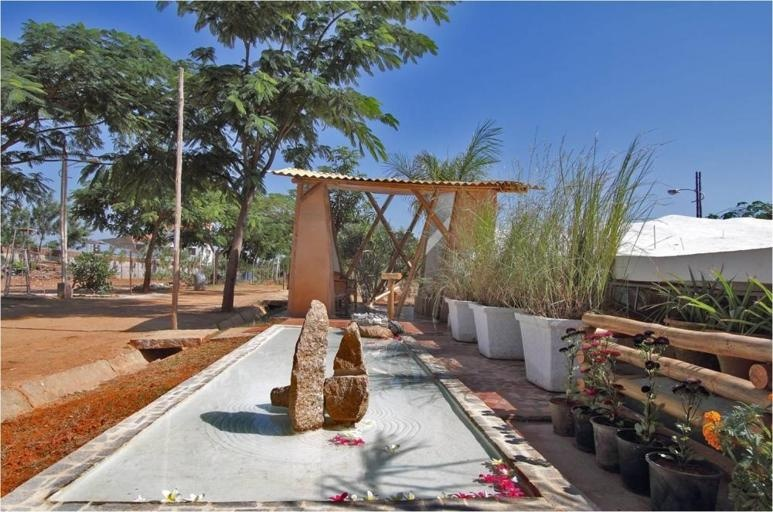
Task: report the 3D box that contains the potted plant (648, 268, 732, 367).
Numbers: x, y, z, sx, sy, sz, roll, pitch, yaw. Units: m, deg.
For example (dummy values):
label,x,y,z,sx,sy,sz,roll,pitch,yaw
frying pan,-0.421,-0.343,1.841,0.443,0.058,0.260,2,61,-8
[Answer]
label,x,y,z,sx,sy,sz,roll,pitch,yaw
potted plant,2.888,0.573,3.788,0.787,0.875,0.878,0,-5,0

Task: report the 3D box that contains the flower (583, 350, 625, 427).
label,x,y,z,sx,sy,sz,roll,pitch,yaw
flower,1.771,1.039,3.148,0.283,0.549,0.317,35,-46,-24

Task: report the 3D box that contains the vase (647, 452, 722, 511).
label,x,y,z,sx,sy,sz,roll,pitch,yaw
vase,1.949,1.433,2.616,0.375,0.284,0.406,0,-7,-8

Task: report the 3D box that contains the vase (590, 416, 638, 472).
label,x,y,z,sx,sy,sz,roll,pitch,yaw
vase,1.685,1.378,2.980,0.340,0.304,0.321,2,-1,-23

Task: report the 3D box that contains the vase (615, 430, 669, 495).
label,x,y,z,sx,sy,sz,roll,pitch,yaw
vase,1.892,1.443,2.834,0.367,0.335,0.413,0,-3,42

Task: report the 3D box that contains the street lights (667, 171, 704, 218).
label,x,y,z,sx,sy,sz,roll,pitch,yaw
street lights,4.241,-0.807,5.493,0.451,0.647,0.131,3,-10,14

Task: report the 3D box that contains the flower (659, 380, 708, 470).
label,x,y,z,sx,sy,sz,roll,pitch,yaw
flower,2.037,1.067,2.578,0.206,0.500,0.244,25,-14,-20

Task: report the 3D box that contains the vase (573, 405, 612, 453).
label,x,y,z,sx,sy,sz,roll,pitch,yaw
vase,1.639,1.370,3.188,0.283,0.272,0.302,-2,5,-9

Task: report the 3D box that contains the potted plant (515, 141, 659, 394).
label,x,y,z,sx,sy,sz,roll,pitch,yaw
potted plant,2.324,0.181,4.765,1.657,2.516,1.313,5,9,-13

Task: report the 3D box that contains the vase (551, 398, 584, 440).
label,x,y,z,sx,sy,sz,roll,pitch,yaw
vase,1.569,1.368,3.415,0.310,0.245,0.300,0,-9,1
